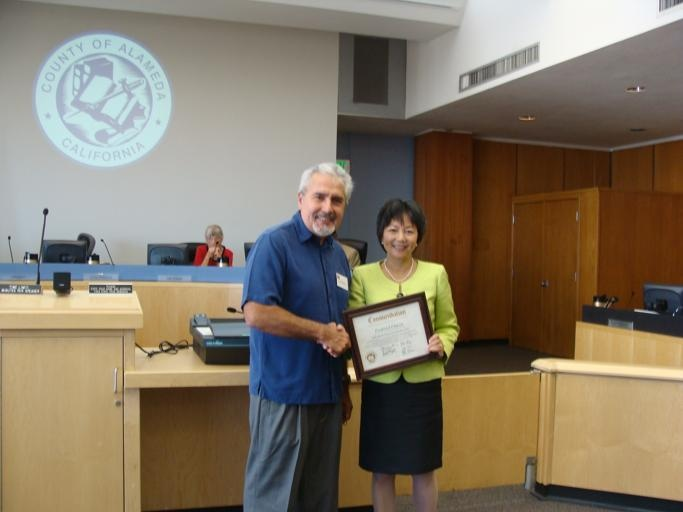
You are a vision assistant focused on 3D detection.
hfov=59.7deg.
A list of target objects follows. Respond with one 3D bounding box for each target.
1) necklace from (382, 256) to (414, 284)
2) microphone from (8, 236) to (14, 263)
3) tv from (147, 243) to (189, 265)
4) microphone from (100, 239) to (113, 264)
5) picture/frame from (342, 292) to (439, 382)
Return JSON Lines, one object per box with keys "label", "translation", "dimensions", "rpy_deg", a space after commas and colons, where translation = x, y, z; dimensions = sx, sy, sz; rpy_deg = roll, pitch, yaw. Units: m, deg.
{"label": "necklace", "translation": [0.308, 0.071, 3.165], "dimensions": [0.108, 0.103, 0.158], "rpy_deg": [2, 4, 1]}
{"label": "microphone", "translation": [-3.737, -0.081, 6.722], "dimensions": [0.053, 0.287, 0.179], "rpy_deg": [-3, 3, -30]}
{"label": "tv", "translation": [-1.581, -0.019, 5.415], "dimensions": [0.327, 0.176, 1.325], "rpy_deg": [-2, 2, -18]}
{"label": "microphone", "translation": [-2.723, -0.058, 6.895], "dimensions": [0.074, 0.063, 0.274], "rpy_deg": [-2, 31, -29]}
{"label": "picture/frame", "translation": [0.251, 0.419, 3.006], "dimensions": [0.349, 0.340, 0.026], "rpy_deg": [-14, 2, -15]}
